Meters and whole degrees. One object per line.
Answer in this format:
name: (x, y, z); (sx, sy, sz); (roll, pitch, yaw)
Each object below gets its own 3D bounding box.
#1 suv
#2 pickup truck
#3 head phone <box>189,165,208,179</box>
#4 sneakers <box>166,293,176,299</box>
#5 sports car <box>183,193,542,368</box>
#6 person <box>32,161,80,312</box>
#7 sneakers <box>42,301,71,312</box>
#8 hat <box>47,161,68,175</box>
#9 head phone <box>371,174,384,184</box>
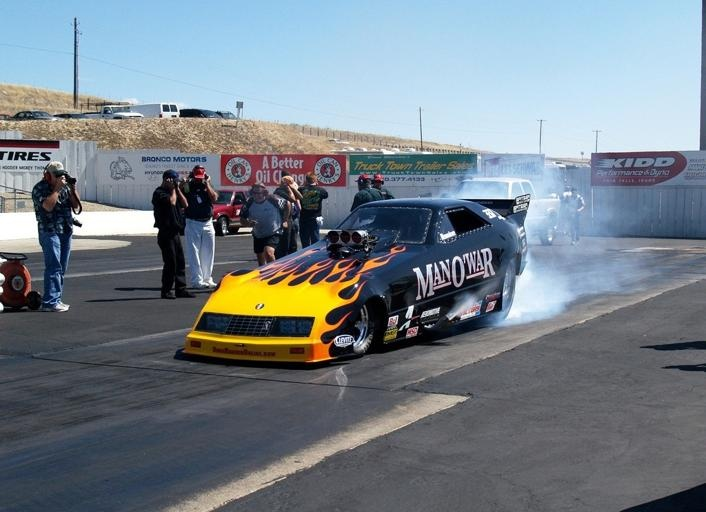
suv: (-6.243, -1.976, 31.218); (2.201, 1.333, 3.247); (1, 3, 24)
pickup truck: (4.309, -1.518, 21.443); (3.713, 1.070, 1.699); (4, 6, -19)
head phone: (-2.968, -1.588, 12.922); (0.319, 0.195, 0.405); (3, 3, -13)
sneakers: (-3.247, 0.725, 12.097); (0.080, 0.058, 0.172); (6, 8, 28)
sports car: (0.320, 0.128, 8.433); (2.428, 0.858, 3.497); (1, 5, 36)
person: (-4.673, -0.300, 10.756); (0.690, 2.363, 0.801); (-4, 11, -22)
sneakers: (-4.665, 0.813, 10.672); (0.497, 0.150, 0.165); (-1, 11, -1)
hat: (-4.667, -1.349, 10.434); (0.393, 0.156, 0.262); (13, 15, 22)
head phone: (0.526, -1.700, 15.000); (0.428, 0.170, 0.517); (4, 4, 5)
